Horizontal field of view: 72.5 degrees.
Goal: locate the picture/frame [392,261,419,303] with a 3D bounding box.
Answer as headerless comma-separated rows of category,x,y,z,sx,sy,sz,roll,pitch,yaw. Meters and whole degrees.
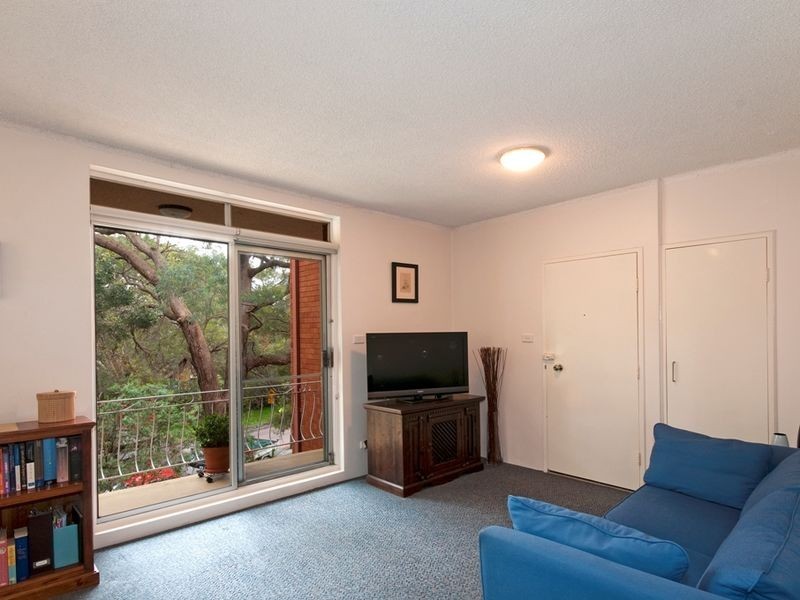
picture/frame,0.055,-0.185,6.060,0.033,0.475,0.445,-1,-1,41

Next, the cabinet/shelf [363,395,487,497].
cabinet/shelf,0.255,1.430,5.577,1.130,0.780,0.623,0,-1,-39
